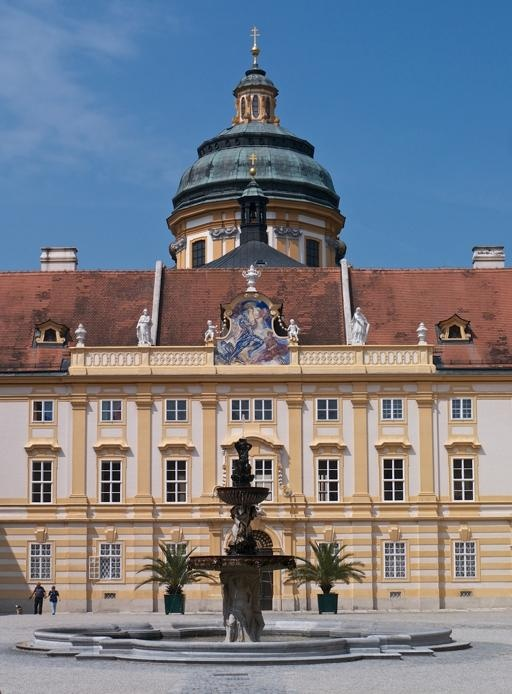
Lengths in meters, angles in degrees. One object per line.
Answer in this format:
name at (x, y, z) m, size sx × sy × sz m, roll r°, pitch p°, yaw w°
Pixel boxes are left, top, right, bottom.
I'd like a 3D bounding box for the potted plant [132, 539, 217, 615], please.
potted plant at (-3.080, 8.007, 59.185) m, size 2.316 × 2.374 × 2.385 m, roll 2°, pitch -9°, yaw -42°
